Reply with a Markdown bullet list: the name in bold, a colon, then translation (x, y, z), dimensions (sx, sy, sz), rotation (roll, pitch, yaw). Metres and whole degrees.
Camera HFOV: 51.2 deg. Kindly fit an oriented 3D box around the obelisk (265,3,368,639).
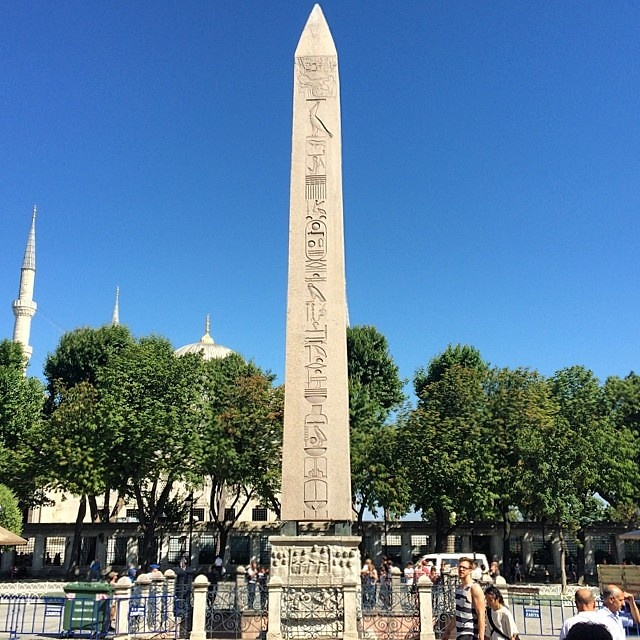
- **obelisk**: translation (-0.066, -1.187, 13.485), dimensions (1.361, 12.147, 0.949), rotation (-2, -17, 4)
